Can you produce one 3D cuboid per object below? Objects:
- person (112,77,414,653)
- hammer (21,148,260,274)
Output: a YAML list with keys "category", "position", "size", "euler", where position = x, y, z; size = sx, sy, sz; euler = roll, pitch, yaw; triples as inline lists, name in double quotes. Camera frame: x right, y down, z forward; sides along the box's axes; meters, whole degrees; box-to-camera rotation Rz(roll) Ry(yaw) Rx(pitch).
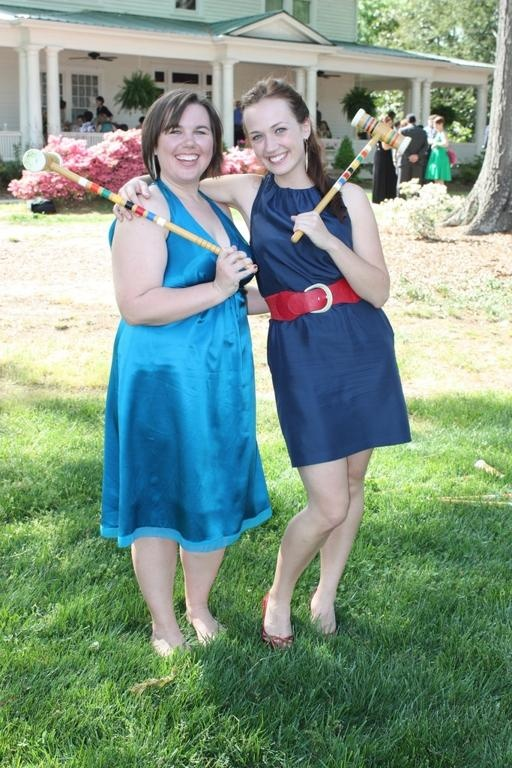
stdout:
- category: "person"
  position: [0.026, -0.043, 2.246]
  size: [1.026, 1.836, 0.548]
  euler: [-2, 3, 0]
- category: "hammer"
  position: [-0.437, -0.585, 2.145]
  size: [0.720, 0.320, 0.335]
  euler: [11, 12, 37]
